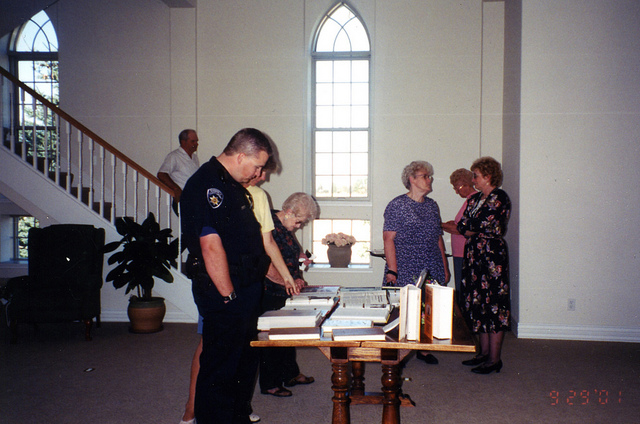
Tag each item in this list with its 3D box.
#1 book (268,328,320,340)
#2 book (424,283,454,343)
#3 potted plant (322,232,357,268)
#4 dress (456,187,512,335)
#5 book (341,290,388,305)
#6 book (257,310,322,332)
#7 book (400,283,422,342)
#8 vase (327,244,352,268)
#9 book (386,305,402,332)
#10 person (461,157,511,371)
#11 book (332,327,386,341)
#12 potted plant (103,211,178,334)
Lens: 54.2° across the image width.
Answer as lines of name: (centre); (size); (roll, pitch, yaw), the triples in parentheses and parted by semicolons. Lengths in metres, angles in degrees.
book: (-0.226, 1.066, 5.472); (0.437, 0.089, 0.112); (-2, 2, -1)
book: (1.039, 0.899, 5.467); (0.199, 0.458, 0.475); (1, 0, 3)
potted plant: (0.277, 0.574, 9.327); (0.491, 0.505, 0.495); (0, -8, -1)
dress: (1.902, 0.582, 7.281); (0.601, 1.716, 0.282); (-1, 2, 19)
book: (0.421, 0.827, 6.047); (0.444, 0.079, 0.362); (-2, 2, 0)
book: (-0.273, 0.973, 5.600); (0.576, 0.153, 0.238); (-2, 2, 0)
book: (0.788, 0.895, 5.449); (0.196, 0.468, 0.471); (1, -1, 5)
vase: (0.280, 0.660, 9.341); (0.343, 0.256, 0.338); (0, -7, -1)
book: (0.665, 0.963, 5.703); (0.115, 0.179, 0.372); (-2, 2, 9)
person: (1.927, 0.618, 7.239); (0.516, 2.484, 0.235); (-2, 2, 12)
book: (0.334, 1.076, 5.451); (0.456, 0.107, 0.120); (-2, 2, -4)
potted plant: (-2.405, 0.826, 8.425); (0.951, 1.640, 0.378); (-3, 2, -15)
